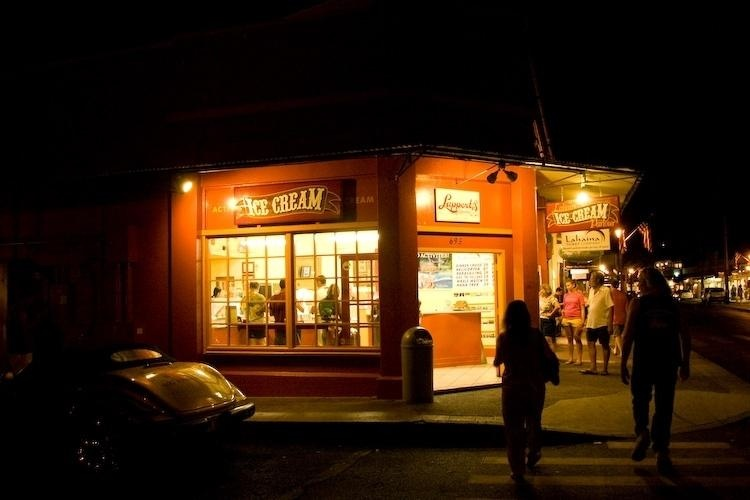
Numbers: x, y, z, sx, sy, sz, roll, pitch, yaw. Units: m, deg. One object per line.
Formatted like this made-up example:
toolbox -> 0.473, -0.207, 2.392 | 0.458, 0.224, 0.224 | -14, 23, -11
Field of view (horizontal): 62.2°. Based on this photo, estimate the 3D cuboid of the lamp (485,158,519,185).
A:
lamp -> 3.013, -1.781, 14.414 | 0.610, 0.512, 0.590 | -1, -3, -26

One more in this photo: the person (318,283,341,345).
person -> -1.073, 1.494, 14.437 | 0.514, 1.372, 0.282 | -1, 7, 13

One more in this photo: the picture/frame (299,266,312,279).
picture/frame -> -1.615, 0.524, 14.574 | 0.266, 0.274, 0.065 | -4, -2, 14

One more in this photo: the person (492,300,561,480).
person -> 2.307, 2.130, 9.554 | 0.863, 2.666, 0.597 | -6, 8, -26

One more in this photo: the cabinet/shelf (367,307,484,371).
cabinet/shelf -> 1.563, 2.201, 16.331 | 2.358, 2.153, 1.237 | -4, 5, -18

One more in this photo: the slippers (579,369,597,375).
slippers -> 5.288, 3.023, 15.293 | 0.269, 0.085, 0.143 | 4, -8, -5

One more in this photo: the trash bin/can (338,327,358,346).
trash bin/can -> -0.571, 1.937, 14.466 | 0.516, 0.498, 0.398 | 0, -2, 25

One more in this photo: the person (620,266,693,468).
person -> 4.326, 1.844, 9.653 | 0.888, 3.048, 1.062 | 3, 9, 38
